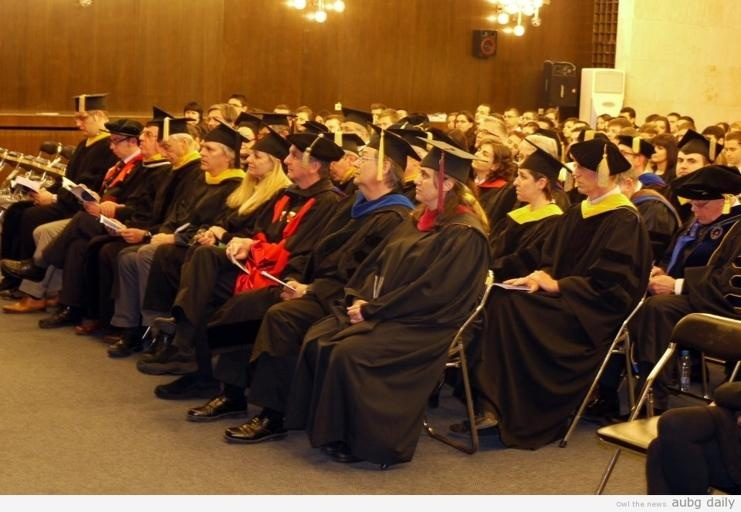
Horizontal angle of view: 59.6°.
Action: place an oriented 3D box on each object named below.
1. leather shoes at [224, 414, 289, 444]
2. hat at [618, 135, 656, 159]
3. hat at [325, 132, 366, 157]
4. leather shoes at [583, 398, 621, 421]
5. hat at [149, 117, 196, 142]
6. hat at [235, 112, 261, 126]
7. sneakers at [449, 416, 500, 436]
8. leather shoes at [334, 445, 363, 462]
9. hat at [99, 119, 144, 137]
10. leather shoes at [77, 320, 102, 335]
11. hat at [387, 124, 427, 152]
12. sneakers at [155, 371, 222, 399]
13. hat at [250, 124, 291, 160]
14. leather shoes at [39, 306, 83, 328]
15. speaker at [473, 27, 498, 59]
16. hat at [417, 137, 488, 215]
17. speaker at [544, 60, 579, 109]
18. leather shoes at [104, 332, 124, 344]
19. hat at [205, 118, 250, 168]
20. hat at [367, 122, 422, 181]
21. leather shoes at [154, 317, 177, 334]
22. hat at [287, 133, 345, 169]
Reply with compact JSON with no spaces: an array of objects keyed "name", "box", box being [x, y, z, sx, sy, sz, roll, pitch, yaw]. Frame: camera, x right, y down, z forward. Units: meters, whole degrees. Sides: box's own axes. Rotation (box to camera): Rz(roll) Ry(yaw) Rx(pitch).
[{"name":"leather shoes","box":[-0.781,1.172,4.486,0.464,0.185,0.178,2,7,-20]},{"name":"hat","box":[2.752,-1.129,6.733,0.318,0.183,0.254,29,15,19]},{"name":"hat","box":[-0.228,-1.105,6.310,0.408,0.190,0.358,13,3,4]},{"name":"leather shoes","box":[1.786,1.174,4.988,0.199,0.064,0.189,1,-2,-33]},{"name":"hat","box":[-2.013,-1.316,6.681,0.349,0.111,0.357,-7,8,-27]},{"name":"hat","box":[-1.421,-1.595,7.494,0.255,0.140,0.241,4,-3,7]},{"name":"sneakers","box":[0.747,1.212,4.571,0.420,0.146,0.135,0,5,7]},{"name":"leather shoes","box":[-0.148,1.295,4.220,0.186,0.069,0.083,11,-11,-43]},{"name":"hat","box":[-2.756,-1.385,7.113,0.289,0.078,0.282,3,6,28]},{"name":"leather shoes","box":[-2.757,0.715,6.378,0.254,0.104,0.108,6,6,-32]},{"name":"hat","box":[0.330,-1.010,5.345,0.308,0.133,0.356,10,0,13]},{"name":"sneakers","box":[-1.436,1.037,5.191,0.528,0.199,0.194,3,-3,-22]},{"name":"hat","box":[-0.838,-0.956,5.545,0.345,0.183,0.247,15,26,-20]},{"name":"leather shoes","box":[-3.084,0.623,6.456,0.442,0.211,0.160,2,6,-30]},{"name":"speaker","box":[2.618,-4.876,14.865,0.701,0.721,0.400,-5,12,-25]},{"name":"hat","box":[0.519,-0.595,4.559,0.501,0.460,0.440,-14,30,-16]},{"name":"speaker","box":[4.501,-4.049,15.394,0.722,1.013,0.618,1,24,-1]},{"name":"leather shoes","box":[-2.437,0.778,6.147,0.119,0.106,0.289,3,-4,1]},{"name":"hat","box":[-1.373,-1.063,6.161,0.449,0.401,0.379,-12,21,-21]},{"name":"hat","box":[0.295,-0.748,4.845,0.524,0.369,0.438,13,15,20]},{"name":"leather shoes","box":[-1.689,0.577,5.337,0.135,0.161,0.139,4,50,10]},{"name":"hat","box":[-0.430,-0.856,5.172,0.299,0.126,0.291,25,7,10]}]
